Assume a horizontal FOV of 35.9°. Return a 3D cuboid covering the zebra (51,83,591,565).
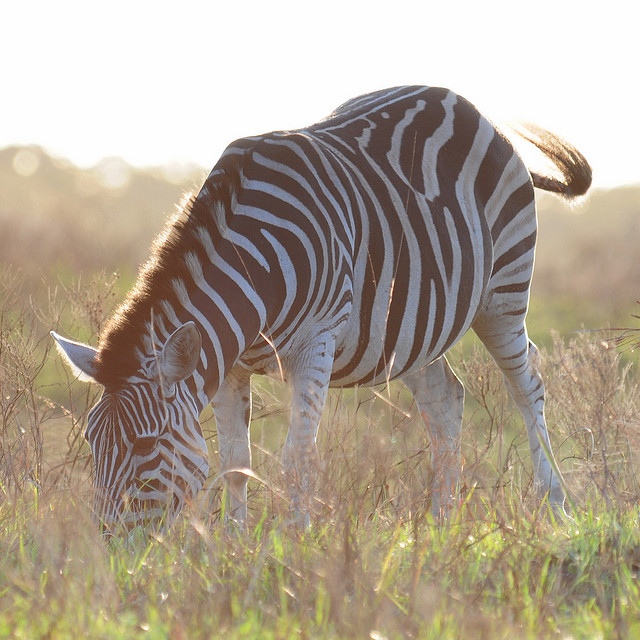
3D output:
[{"bbox_3d":[0.294,0.018,4.723,2.914,2.050,0.812,-13,12,-32],"label":"zebra"}]
